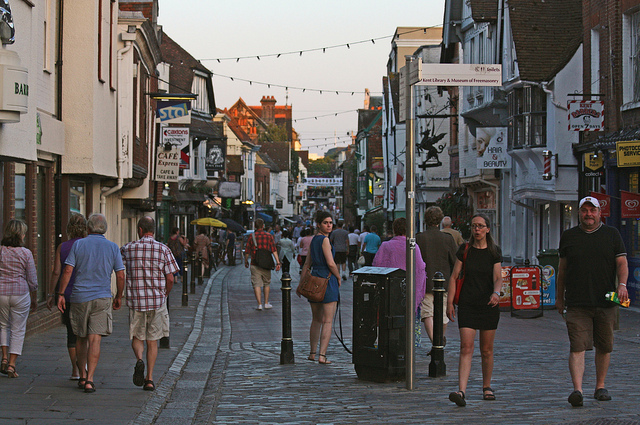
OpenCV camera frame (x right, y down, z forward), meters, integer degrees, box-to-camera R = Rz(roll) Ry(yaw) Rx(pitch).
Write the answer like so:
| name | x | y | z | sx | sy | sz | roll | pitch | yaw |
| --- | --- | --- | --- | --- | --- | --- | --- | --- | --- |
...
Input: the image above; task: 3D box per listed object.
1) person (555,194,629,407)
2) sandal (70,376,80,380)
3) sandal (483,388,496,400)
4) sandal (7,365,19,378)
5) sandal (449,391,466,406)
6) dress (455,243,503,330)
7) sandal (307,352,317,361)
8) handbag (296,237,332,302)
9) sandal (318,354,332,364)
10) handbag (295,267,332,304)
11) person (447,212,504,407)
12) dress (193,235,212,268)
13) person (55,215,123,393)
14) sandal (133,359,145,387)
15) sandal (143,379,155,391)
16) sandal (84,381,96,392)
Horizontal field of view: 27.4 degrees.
| name | x | y | z | sx | sy | sz | roll | pitch | yaw |
| --- | --- | --- | --- | --- | --- | --- | --- | --- | --- |
| person | 4.667 | 1.492 | 22.607 | 1.170 | 3.465 | 0.960 | 1 | 9 | 4 |
| sandal | -4.402 | 2.928 | 23.462 | 0.175 | 0.067 | 0.062 | 8 | 2 | 16 |
| sandal | 2.901 | 3.118 | 22.692 | 0.156 | 0.157 | 0.441 | 0 | -8 | 0 |
| sandal | -5.491 | 2.813 | 23.496 | 0.150 | 0.218 | 0.197 | 3 | 9 | 21 |
| sandal | 2.314 | 3.143 | 22.296 | 0.154 | 0.303 | 0.132 | -2 | 43 | 27 |
| dress | 2.731 | 1.285 | 22.643 | 0.708 | 1.376 | 0.435 | 1 | 9 | 6 |
| sandal | -0.185 | 2.736 | 25.288 | 0.130 | 0.127 | 0.265 | 0 | 8 | -3 |
| handbag | -0.141 | 1.116 | 24.930 | 0.580 | 1.063 | 0.423 | 8 | 12 | 44 |
| sandal | 0.066 | 2.742 | 25.002 | 0.246 | 0.178 | 0.307 | -2 | 9 | -16 |
| handbag | -0.158 | 1.373 | 24.993 | 0.633 | 0.672 | 0.430 | 8 | 12 | 43 |
| person | 2.661 | 1.648 | 22.661 | 1.129 | 3.155 | 0.781 | -7 | 11 | -38 |
| dress | -3.846 | 1.219 | 42.174 | 0.410 | 1.098 | 1.040 | 2 | 9 | 14 |
| person | -4.080 | 1.548 | 23.237 | 1.180 | 2.967 | 1.069 | -2 | 9 | -11 |
| sandal | -3.206 | 2.831 | 23.107 | 0.197 | 0.500 | 0.249 | -1 | 9 | -9 |
| sandal | -3.040 | 3.013 | 23.127 | 0.213 | 0.159 | 0.539 | 2 | 1 | -1 |
| sandal | -4.036 | 3.013 | 22.872 | 0.192 | 0.152 | 0.488 | 2 | 0 | -6 |
